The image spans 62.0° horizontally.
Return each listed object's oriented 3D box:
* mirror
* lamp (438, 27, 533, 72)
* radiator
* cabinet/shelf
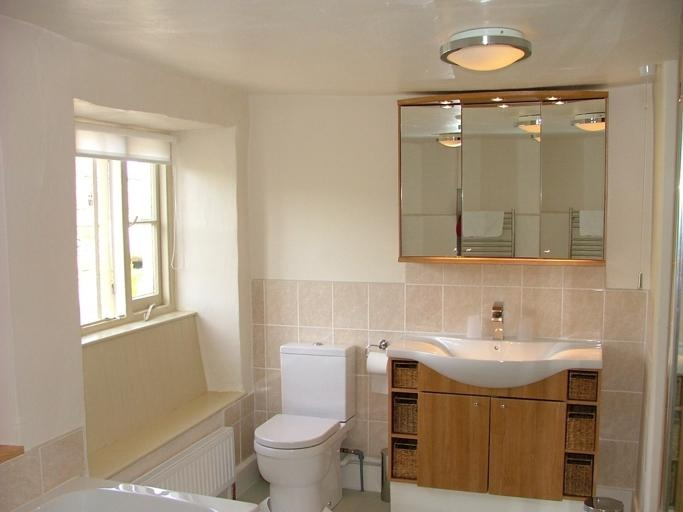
[{"bbox_3d":[1.026,-0.494,3.434,1.131,0.917,0.121,0,4,13],"label":"mirror"},{"bbox_3d":[0.607,-0.878,2.412,0.384,0.110,0.293,0,4,18],"label":"lamp"},{"bbox_3d":[-0.968,1.217,3.365,0.081,0.323,0.516,2,6,23],"label":"radiator"},{"bbox_3d":[0.918,1.021,3.294,1.012,0.615,0.354,0,1,18],"label":"cabinet/shelf"}]
